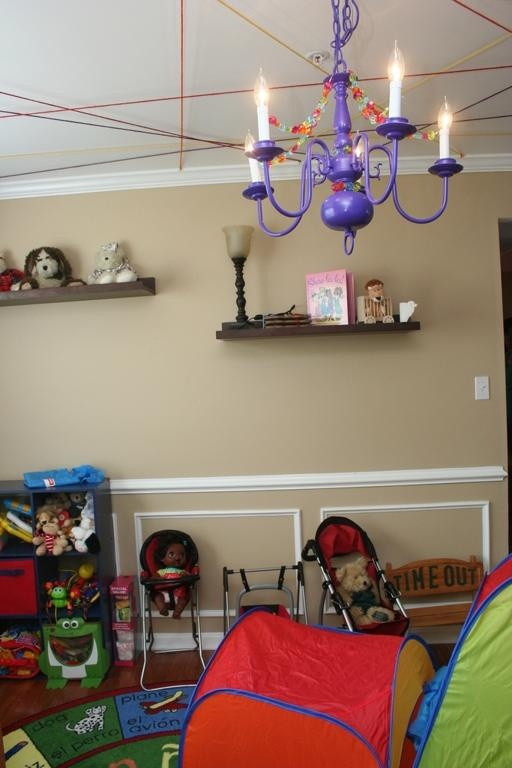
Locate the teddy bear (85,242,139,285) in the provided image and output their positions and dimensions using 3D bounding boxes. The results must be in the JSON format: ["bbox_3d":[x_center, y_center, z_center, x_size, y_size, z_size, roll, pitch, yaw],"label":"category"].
[{"bbox_3d":[-0.700,-0.585,3.113,0.223,0.194,0.200,-7,11,-15],"label":"teddy bear"}]

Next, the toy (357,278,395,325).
[{"bbox_3d":[0.569,-0.406,3.115,0.169,0.198,0.310,-2,11,10],"label":"toy"}]

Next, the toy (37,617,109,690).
[{"bbox_3d":[-0.817,1.224,3.056,0.356,0.324,0.276,-2,-3,0],"label":"toy"}]

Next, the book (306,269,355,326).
[{"bbox_3d":[0.353,-0.405,3.062,0.267,0.308,0.104,-5,-11,26],"label":"book"}]

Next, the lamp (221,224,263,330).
[{"bbox_3d":[-0.079,-0.524,3.101,0.126,0.464,0.179,-8,11,-17],"label":"lamp"}]

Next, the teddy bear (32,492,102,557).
[{"bbox_3d":[-0.905,0.670,3.094,0.317,0.266,0.280,-5,11,-4],"label":"teddy bear"}]

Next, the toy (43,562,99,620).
[{"bbox_3d":[-0.875,1.008,3.065,0.252,0.220,0.253,-8,11,-18],"label":"toy"}]

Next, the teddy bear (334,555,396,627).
[{"bbox_3d":[0.486,0.947,2.923,0.213,0.294,0.257,-9,2,-40],"label":"teddy bear"}]

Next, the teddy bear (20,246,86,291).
[{"bbox_3d":[-1.018,-0.579,3.174,0.296,0.205,0.300,-7,11,-17],"label":"teddy bear"}]
